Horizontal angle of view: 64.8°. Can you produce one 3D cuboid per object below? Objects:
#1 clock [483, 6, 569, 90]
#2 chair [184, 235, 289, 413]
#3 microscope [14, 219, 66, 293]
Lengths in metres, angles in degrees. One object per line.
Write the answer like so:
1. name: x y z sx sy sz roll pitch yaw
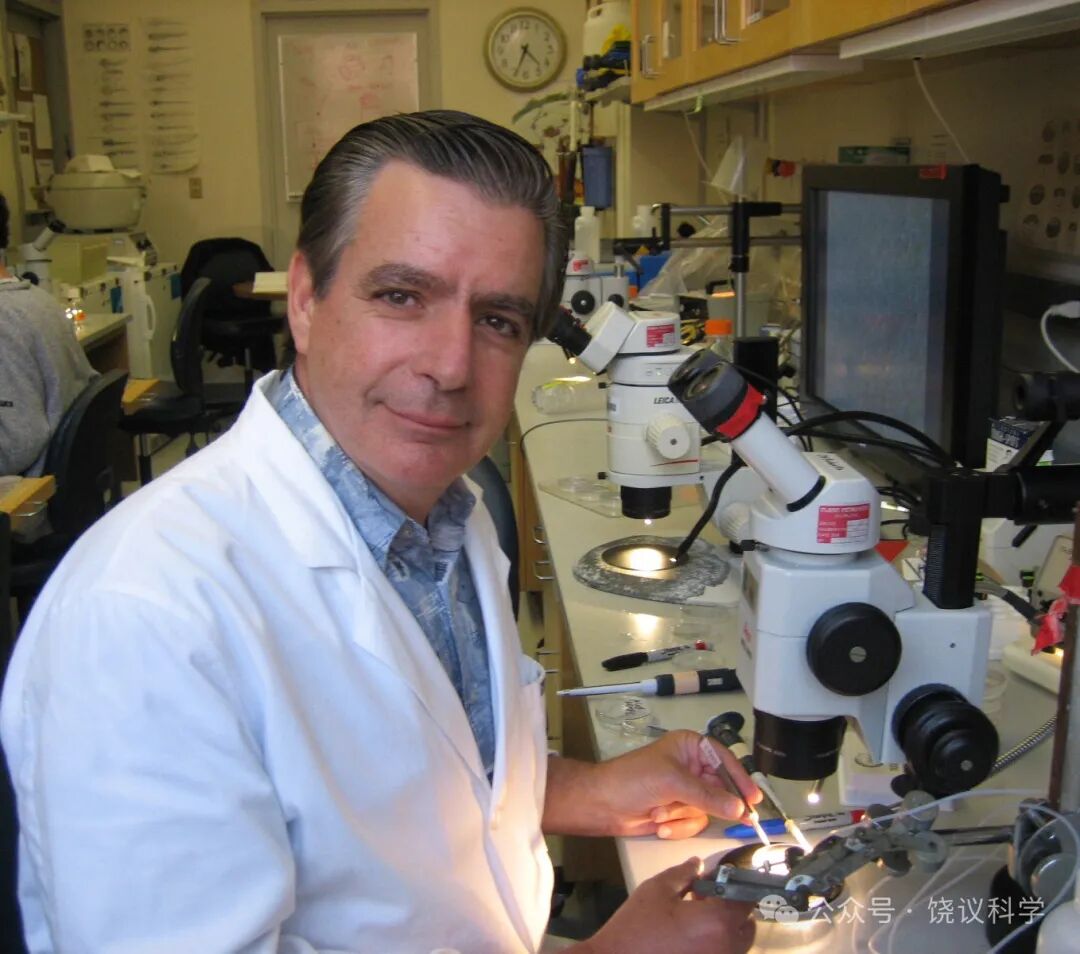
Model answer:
1. clock: -0.110 -3.321 6.520 0.810 0.749 0.105 -1 8 -1
2. chair: -2.174 -1.106 6.233 0.692 1.248 0.708 -10 21 -23
3. microscope: -2.760 -1.214 4.662 0.203 0.413 0.092 -3 45 -36
